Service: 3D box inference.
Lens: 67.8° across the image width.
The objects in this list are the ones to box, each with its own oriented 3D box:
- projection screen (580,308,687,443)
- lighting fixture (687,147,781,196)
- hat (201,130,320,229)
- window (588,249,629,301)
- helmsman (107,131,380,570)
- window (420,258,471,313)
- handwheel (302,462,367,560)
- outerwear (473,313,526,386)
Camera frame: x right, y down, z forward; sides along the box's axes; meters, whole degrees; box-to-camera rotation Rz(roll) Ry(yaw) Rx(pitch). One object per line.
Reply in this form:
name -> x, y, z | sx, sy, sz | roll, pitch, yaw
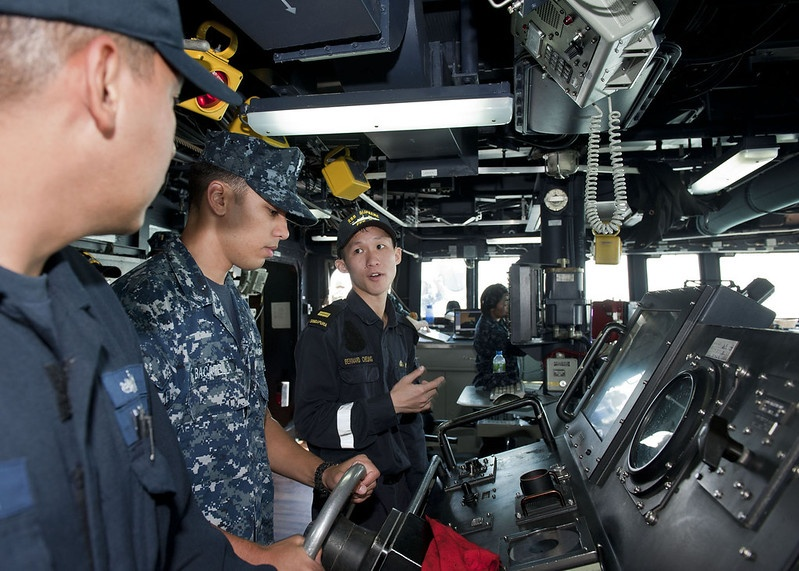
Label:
projection screen -> 0.794, 0.271, 2.045 | 0.094, 0.384, 0.357 | 26, -9, 6
lighting fixture -> 2.155, -0.758, 3.909 | 0.233, 0.206, 0.999 | 5, 3, 11
hat -> -0.467, -0.398, 2.089 | 0.484, 0.216, 0.356 | 23, 3, -16
window -> 3.510, -0.158, 10.136 | 0.831, 0.574, 0.592 | 4, 3, -3
helmsman -> -0.569, 0.137, 3.007 | 1.181, 2.715, 1.346 | -1, 4, 0
window -> 0.749, -0.024, 9.886 | 0.929, 1.187, 0.120 | 1, -3, -1
handwheel -> -0.168, 0.553, 1.492 | 0.067, 0.181, 0.198 | 6, 4, 30
outerwear -> 0.798, 0.577, 5.154 | 0.497, 0.698, 0.551 | -6, -13, 9
